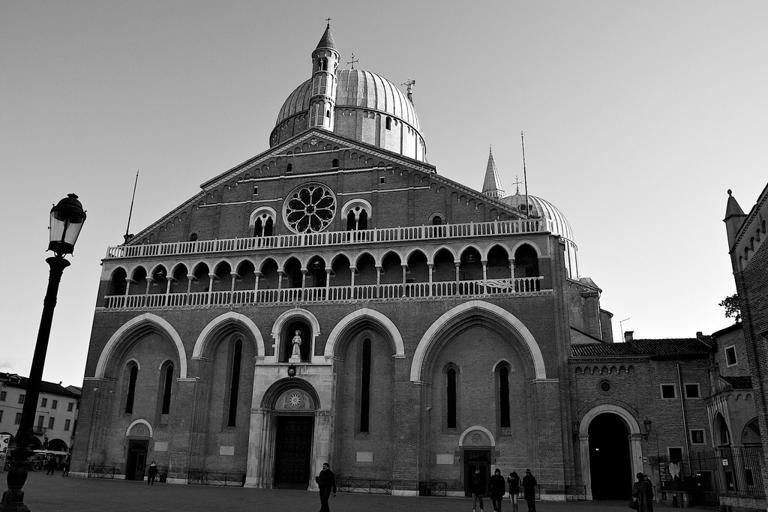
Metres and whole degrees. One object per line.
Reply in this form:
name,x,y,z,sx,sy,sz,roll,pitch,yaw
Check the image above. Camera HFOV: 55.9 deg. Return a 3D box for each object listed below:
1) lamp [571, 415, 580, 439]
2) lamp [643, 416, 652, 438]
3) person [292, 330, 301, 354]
lamp,11.406,10.222,43.010,0.372,1.188,0.736,-16,-28,33
lamp,15.377,10.045,42.327,0.565,1.320,0.722,-10,-25,22
person,-5.617,5.604,46.909,0.561,1.833,1.097,3,-23,-7
